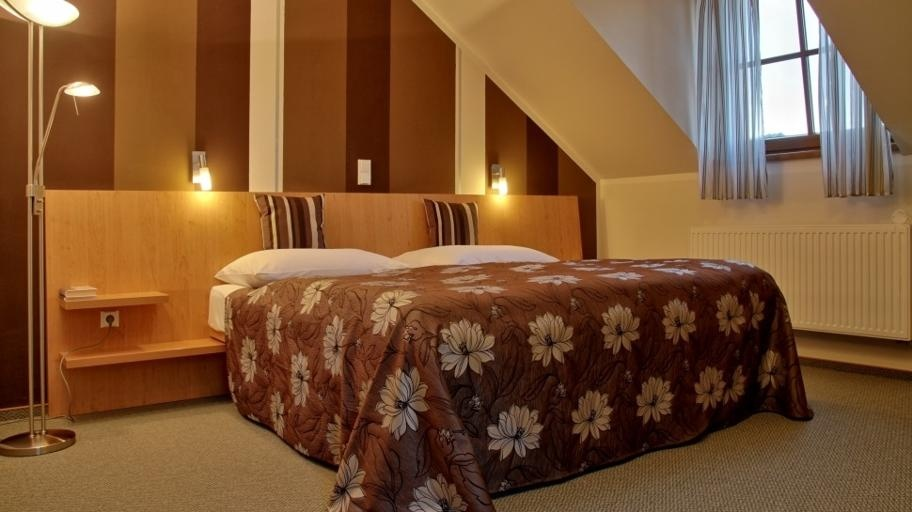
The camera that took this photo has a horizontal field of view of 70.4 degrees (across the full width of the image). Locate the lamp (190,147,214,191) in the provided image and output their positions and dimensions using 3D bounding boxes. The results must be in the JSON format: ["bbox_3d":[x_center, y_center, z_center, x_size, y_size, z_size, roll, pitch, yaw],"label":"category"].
[{"bbox_3d":[-2.163,-0.737,5.489,0.152,0.343,0.161,-4,-5,-26],"label":"lamp"}]

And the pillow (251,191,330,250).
[{"bbox_3d":[-1.459,-0.303,5.547,0.449,0.456,0.156,3,-19,-31],"label":"pillow"}]

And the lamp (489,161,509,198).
[{"bbox_3d":[0.467,-0.798,6.650,0.182,0.367,0.171,1,-4,-7],"label":"lamp"}]

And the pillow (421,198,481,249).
[{"bbox_3d":[-0.041,-0.322,6.203,0.474,0.477,0.143,-2,-12,-36],"label":"pillow"}]
